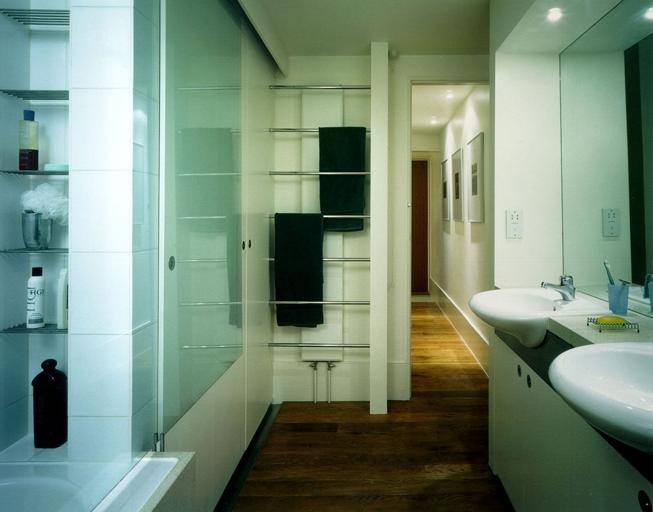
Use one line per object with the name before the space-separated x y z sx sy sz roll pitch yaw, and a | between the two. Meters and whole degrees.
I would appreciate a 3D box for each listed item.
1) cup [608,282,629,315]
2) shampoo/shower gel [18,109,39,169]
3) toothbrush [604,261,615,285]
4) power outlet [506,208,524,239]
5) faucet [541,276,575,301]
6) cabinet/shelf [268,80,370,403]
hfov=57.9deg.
cup | 1.192 0.177 2.423 0.075 0.127 0.060 4 10 26
shampoo/shower gel | -0.874 -0.341 1.742 0.024 0.177 0.081 1 9 15
toothbrush | 1.234 0.071 2.581 0.019 0.136 0.036 1 44 37
power outlet | 0.976 -0.166 3.074 0.086 0.148 0.035 1 8 11
faucet | 1.043 0.147 2.706 0.187 0.136 0.074 3 -5 -23
cabinet/shelf | -0.041 -0.056 3.914 0.657 2.073 0.353 0 8 4
